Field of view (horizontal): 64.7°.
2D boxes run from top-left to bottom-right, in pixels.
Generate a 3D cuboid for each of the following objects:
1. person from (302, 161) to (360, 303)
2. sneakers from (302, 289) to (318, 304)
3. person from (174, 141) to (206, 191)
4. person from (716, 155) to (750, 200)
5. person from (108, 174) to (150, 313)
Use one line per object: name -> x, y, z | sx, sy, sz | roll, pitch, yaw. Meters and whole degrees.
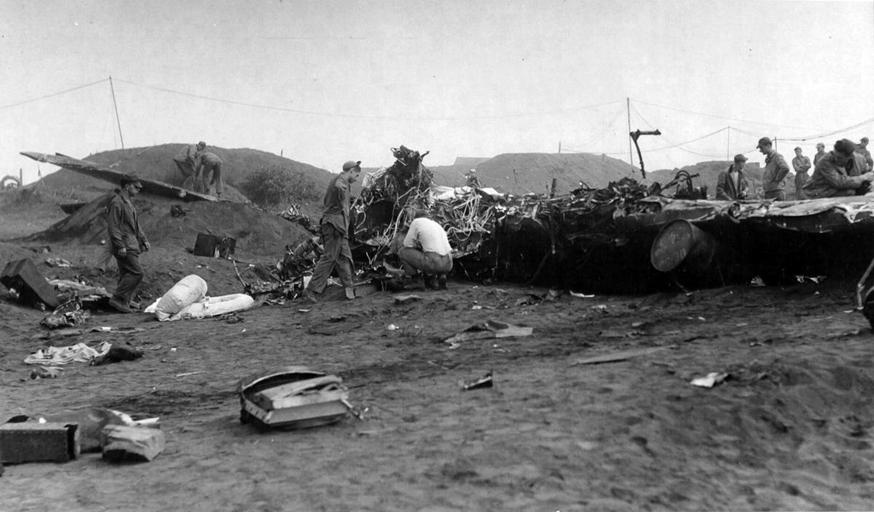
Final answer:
person -> -1.888, -0.443, 12.539 | 1.030, 2.288, 0.753 | -4, 2, 20
sneakers -> -2.269, 0.732, 12.528 | 0.205, 0.270, 0.287 | 6, -23, -42
person -> -8.147, -2.941, 22.671 | 0.973, 1.528, 1.066 | -5, 2, -35
person -> 5.570, -1.504, 13.219 | 0.580, 0.582, 0.756 | -4, 1, 21
person -> -5.625, -0.220, 12.588 | 0.663, 2.604, 0.604 | -5, 2, -24
